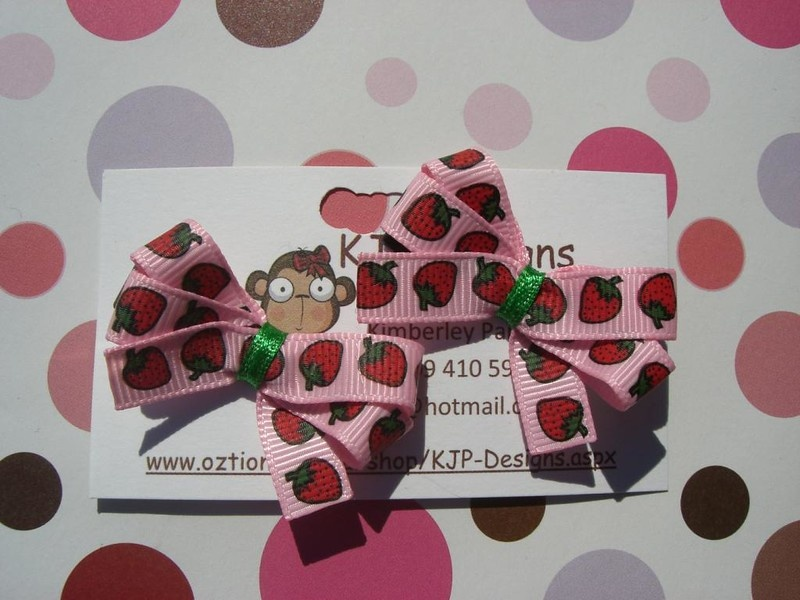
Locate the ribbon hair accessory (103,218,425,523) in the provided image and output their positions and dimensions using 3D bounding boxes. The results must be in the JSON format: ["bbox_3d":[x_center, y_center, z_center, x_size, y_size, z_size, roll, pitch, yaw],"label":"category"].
[{"bbox_3d":[-0.206,0.115,1.517,0.534,0.356,0.172,19,-28,-25],"label":"ribbon hair accessory"}]
